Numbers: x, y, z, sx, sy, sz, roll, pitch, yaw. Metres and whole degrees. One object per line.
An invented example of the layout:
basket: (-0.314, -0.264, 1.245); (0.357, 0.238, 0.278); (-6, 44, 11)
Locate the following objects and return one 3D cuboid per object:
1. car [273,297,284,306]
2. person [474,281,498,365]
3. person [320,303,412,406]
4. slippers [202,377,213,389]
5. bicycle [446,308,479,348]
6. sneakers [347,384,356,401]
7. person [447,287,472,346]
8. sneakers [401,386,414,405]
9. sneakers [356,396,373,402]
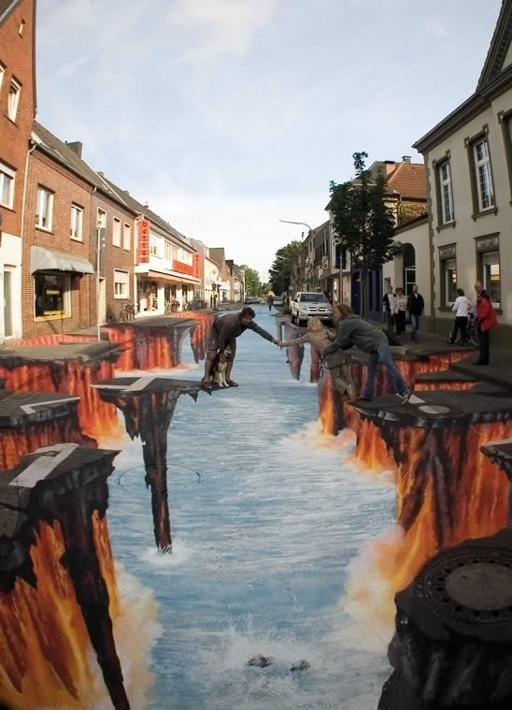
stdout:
car: (4.806, -12.323, 116.370); (2.837, 1.411, 4.814); (-3, 8, -2)
person: (5.390, -0.751, 12.007); (0.471, 1.943, 1.151); (3, 6, 23)
person: (1.563, -0.080, 7.383); (1.111, 1.329, 1.004); (2, 6, 12)
slippers: (-0.748, 0.434, 7.621); (0.084, 0.116, 0.282); (-2, -8, -13)
bicycle: (6.803, -0.842, 16.945); (0.720, 0.946, 1.499); (-1, 11, -8)
sneakers: (1.344, 0.524, 7.184); (0.097, 0.187, 0.309); (1, 6, 5)
person: (6.493, -1.283, 16.076); (0.609, 1.736, 0.533); (3, 21, 25)
sneakers: (2.049, 0.558, 6.838); (0.200, 0.168, 0.488); (6, 7, 4)
sneakers: (1.466, 0.613, 6.882); (0.210, 0.095, 0.078); (11, 13, 4)
